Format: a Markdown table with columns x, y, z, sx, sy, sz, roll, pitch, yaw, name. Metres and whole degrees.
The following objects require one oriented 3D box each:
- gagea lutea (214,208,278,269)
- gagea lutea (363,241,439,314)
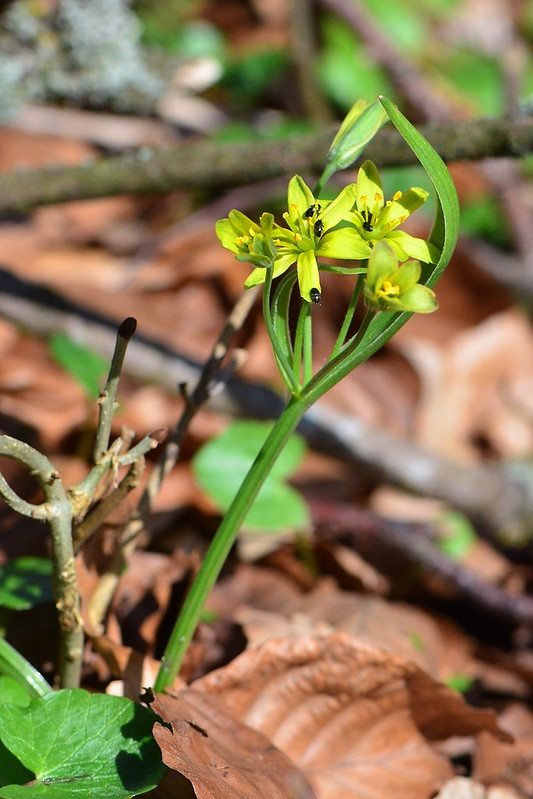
| x | y | z | sx | sy | sz | roll | pitch | yaw | name |
| --- | --- | --- | --- | --- | --- | --- | --- | --- | --- |
| -0.022 | -0.218 | 1.034 | 0.088 | 0.072 | 0.138 | 13 | 18 | -12 | gagea lutea |
| 0.172 | -0.154 | 1.003 | 0.099 | 0.093 | 0.104 | 15 | 19 | -6 | gagea lutea |
